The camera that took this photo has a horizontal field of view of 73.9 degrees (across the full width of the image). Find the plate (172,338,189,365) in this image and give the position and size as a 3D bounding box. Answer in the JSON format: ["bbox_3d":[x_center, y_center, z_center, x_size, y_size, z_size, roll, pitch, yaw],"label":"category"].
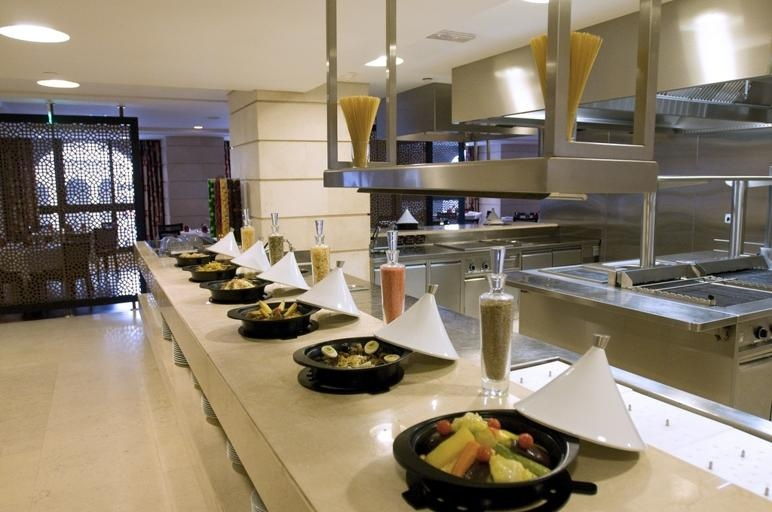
[{"bbox_3d":[-1.274,0.586,3.147,0.059,0.156,0.240,-7,13,-28],"label":"plate"}]

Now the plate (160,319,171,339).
[{"bbox_3d":[-1.623,0.526,3.774,0.042,0.158,0.242,-8,14,-30],"label":"plate"}]

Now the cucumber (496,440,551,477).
[{"bbox_3d":[0.391,0.586,1.507,0.143,0.047,0.073,26,39,15],"label":"cucumber"}]

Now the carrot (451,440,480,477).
[{"bbox_3d":[0.220,0.579,1.448,0.055,0.102,0.031,26,-24,21],"label":"carrot"}]

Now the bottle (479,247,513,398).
[{"bbox_3d":[0.392,0.224,1.840,0.115,0.526,0.183,3,13,13],"label":"bottle"}]

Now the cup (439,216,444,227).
[{"bbox_3d":[0.920,-0.630,8.573,0.085,0.105,0.123,2,12,8],"label":"cup"}]
